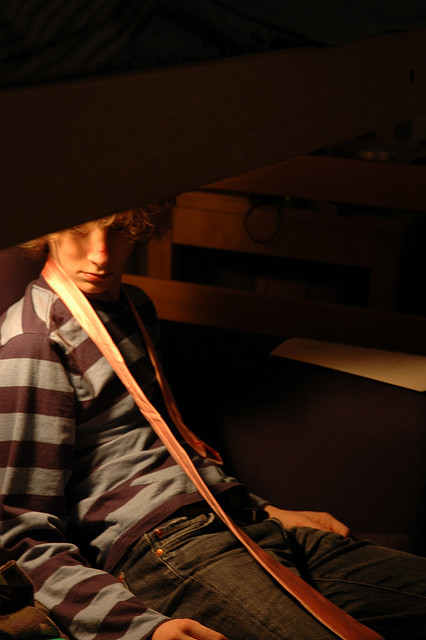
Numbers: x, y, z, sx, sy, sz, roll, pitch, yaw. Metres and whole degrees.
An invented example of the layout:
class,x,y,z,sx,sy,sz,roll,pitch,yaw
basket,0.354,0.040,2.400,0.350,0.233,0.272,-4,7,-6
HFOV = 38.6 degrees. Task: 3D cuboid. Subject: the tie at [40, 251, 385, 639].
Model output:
class,x,y,z,sx,sy,sz,roll,pitch,yaw
tie,-0.076,0.068,1.004,0.106,0.898,0.239,-12,-37,-41
